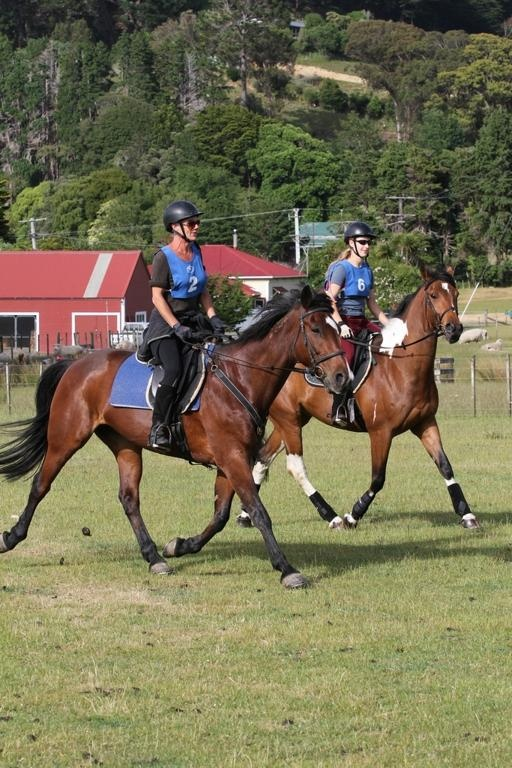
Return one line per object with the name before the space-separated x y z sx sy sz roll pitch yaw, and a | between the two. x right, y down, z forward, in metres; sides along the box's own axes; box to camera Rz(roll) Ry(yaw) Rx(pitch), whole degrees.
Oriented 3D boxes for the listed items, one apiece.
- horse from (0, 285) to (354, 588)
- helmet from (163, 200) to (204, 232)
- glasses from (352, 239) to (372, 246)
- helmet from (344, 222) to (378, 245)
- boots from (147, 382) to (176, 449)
horse | -0.658 0.359 10.186 3.175 2.215 0.802 2 4 33
helmet | -0.560 -1.286 9.974 0.252 0.164 0.201 1 21 15
glasses | 0.996 -1.312 12.022 0.166 0.064 0.136 -1 3 -12
helmet | 0.964 -1.418 12.156 0.286 0.207 0.341 0 3 4
boots | -0.714 0.257 10.034 0.194 0.534 0.244 -1 3 -5
